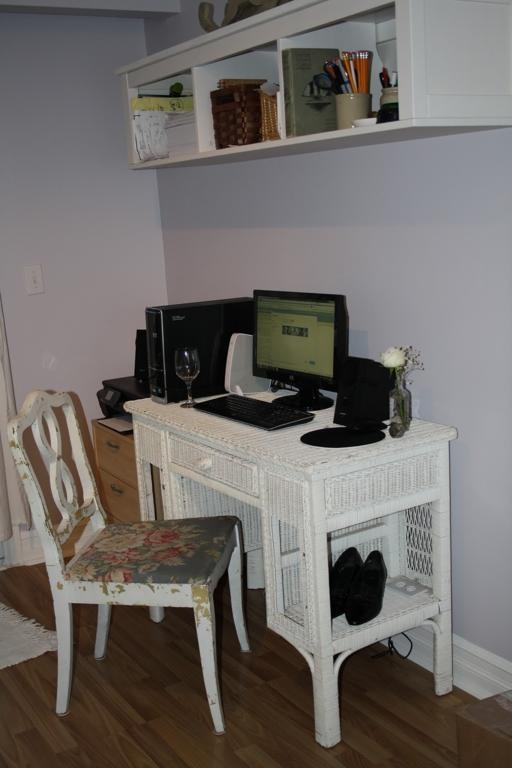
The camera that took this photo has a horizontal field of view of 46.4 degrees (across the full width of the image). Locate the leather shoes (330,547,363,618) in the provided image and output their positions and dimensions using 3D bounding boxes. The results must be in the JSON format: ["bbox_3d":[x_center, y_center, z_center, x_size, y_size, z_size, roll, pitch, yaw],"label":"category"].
[{"bbox_3d":[0.268,0.584,1.770,0.100,0.094,0.282,11,10,12],"label":"leather shoes"}]

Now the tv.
[{"bbox_3d":[0.090,-0.113,1.902,0.384,0.344,0.132,2,1,-39],"label":"tv"}]

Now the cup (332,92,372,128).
[{"bbox_3d":[0.224,-0.636,1.390,0.087,0.096,0.089,-1,19,0],"label":"cup"}]

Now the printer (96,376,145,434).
[{"bbox_3d":[-0.555,0.092,2.620,0.282,0.190,0.213,12,17,41],"label":"printer"}]

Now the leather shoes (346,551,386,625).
[{"bbox_3d":[0.303,0.566,1.635,0.090,0.043,0.257,1,24,23],"label":"leather shoes"}]

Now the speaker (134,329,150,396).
[{"bbox_3d":[-0.509,-0.111,2.609,0.051,0.236,0.098,1,8,3],"label":"speaker"}]

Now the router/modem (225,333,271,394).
[{"bbox_3d":[-0.023,-0.069,2.086,0.189,0.179,0.050,4,10,43],"label":"router/modem"}]

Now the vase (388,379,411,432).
[{"bbox_3d":[0.368,0.063,1.516,0.085,0.131,0.041,-8,7,-43],"label":"vase"}]

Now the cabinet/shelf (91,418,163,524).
[{"bbox_3d":[-0.485,0.326,2.273,0.241,0.432,0.428,-5,10,-29],"label":"cabinet/shelf"}]
